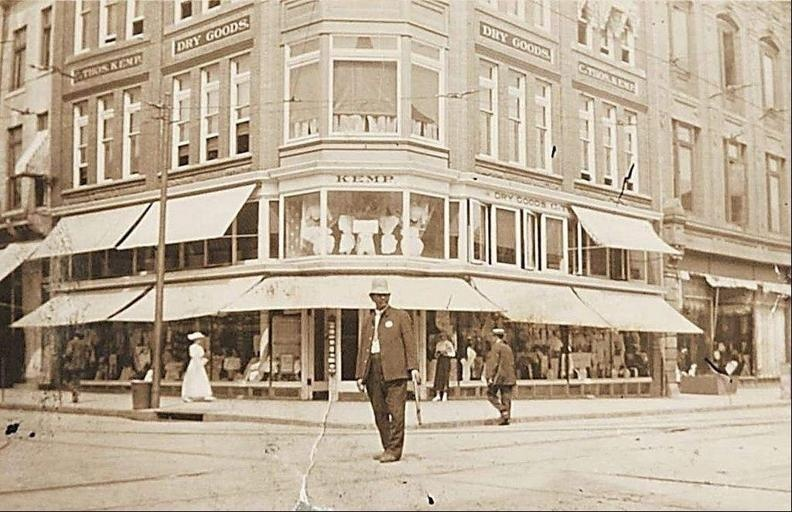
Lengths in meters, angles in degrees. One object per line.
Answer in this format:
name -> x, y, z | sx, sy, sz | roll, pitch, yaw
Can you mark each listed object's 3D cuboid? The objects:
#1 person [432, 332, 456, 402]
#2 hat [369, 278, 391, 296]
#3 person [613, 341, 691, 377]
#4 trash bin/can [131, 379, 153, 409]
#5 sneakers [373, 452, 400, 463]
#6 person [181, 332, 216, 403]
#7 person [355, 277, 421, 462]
person -> 0.794, 1.753, 18.171 | 0.372, 1.101, 0.109 | -1, -13, 2
hat -> -0.230, 0.505, 17.967 | 0.290, 0.171, 0.325 | 0, -1, -2
person -> 4.213, 1.708, 18.664 | 1.143, 0.593, 0.174 | 0, -13, -2
trash bin/can -> -4.174, 2.297, 18.658 | 0.417, 0.443, 0.411 | -2, -8, 19
sneakers -> -0.118, 3.100, 17.386 | 0.429, 0.194, 0.159 | 3, -10, -2
person -> -3.207, 1.798, 18.534 | 0.561, 1.163, 0.286 | -1, -13, 1
person -> -0.109, 1.787, 17.627 | 0.940, 2.791, 0.561 | 0, -13, -4
